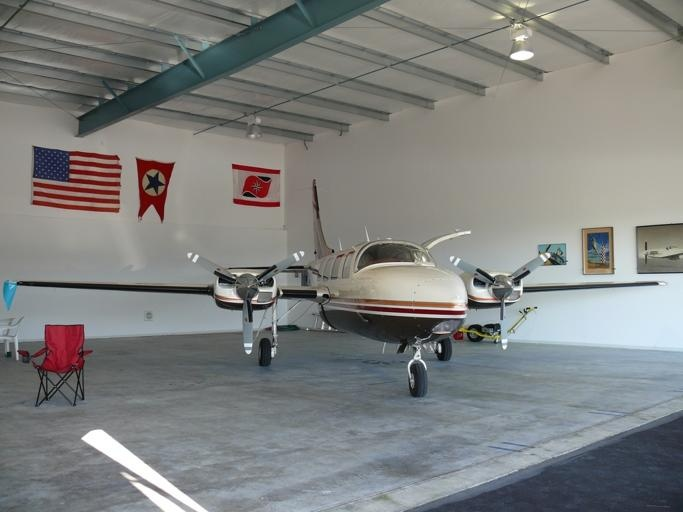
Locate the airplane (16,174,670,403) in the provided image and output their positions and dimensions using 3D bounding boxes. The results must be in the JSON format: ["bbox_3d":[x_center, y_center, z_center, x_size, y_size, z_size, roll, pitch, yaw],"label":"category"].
[{"bbox_3d":[0.259,0.881,9.506,6.128,2.976,5.638,-4,-5,43],"label":"airplane"}]

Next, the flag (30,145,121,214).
[{"bbox_3d":[-9.385,-2.628,16.024,3.491,1.864,0.241,2,-12,-29],"label":"flag"}]
